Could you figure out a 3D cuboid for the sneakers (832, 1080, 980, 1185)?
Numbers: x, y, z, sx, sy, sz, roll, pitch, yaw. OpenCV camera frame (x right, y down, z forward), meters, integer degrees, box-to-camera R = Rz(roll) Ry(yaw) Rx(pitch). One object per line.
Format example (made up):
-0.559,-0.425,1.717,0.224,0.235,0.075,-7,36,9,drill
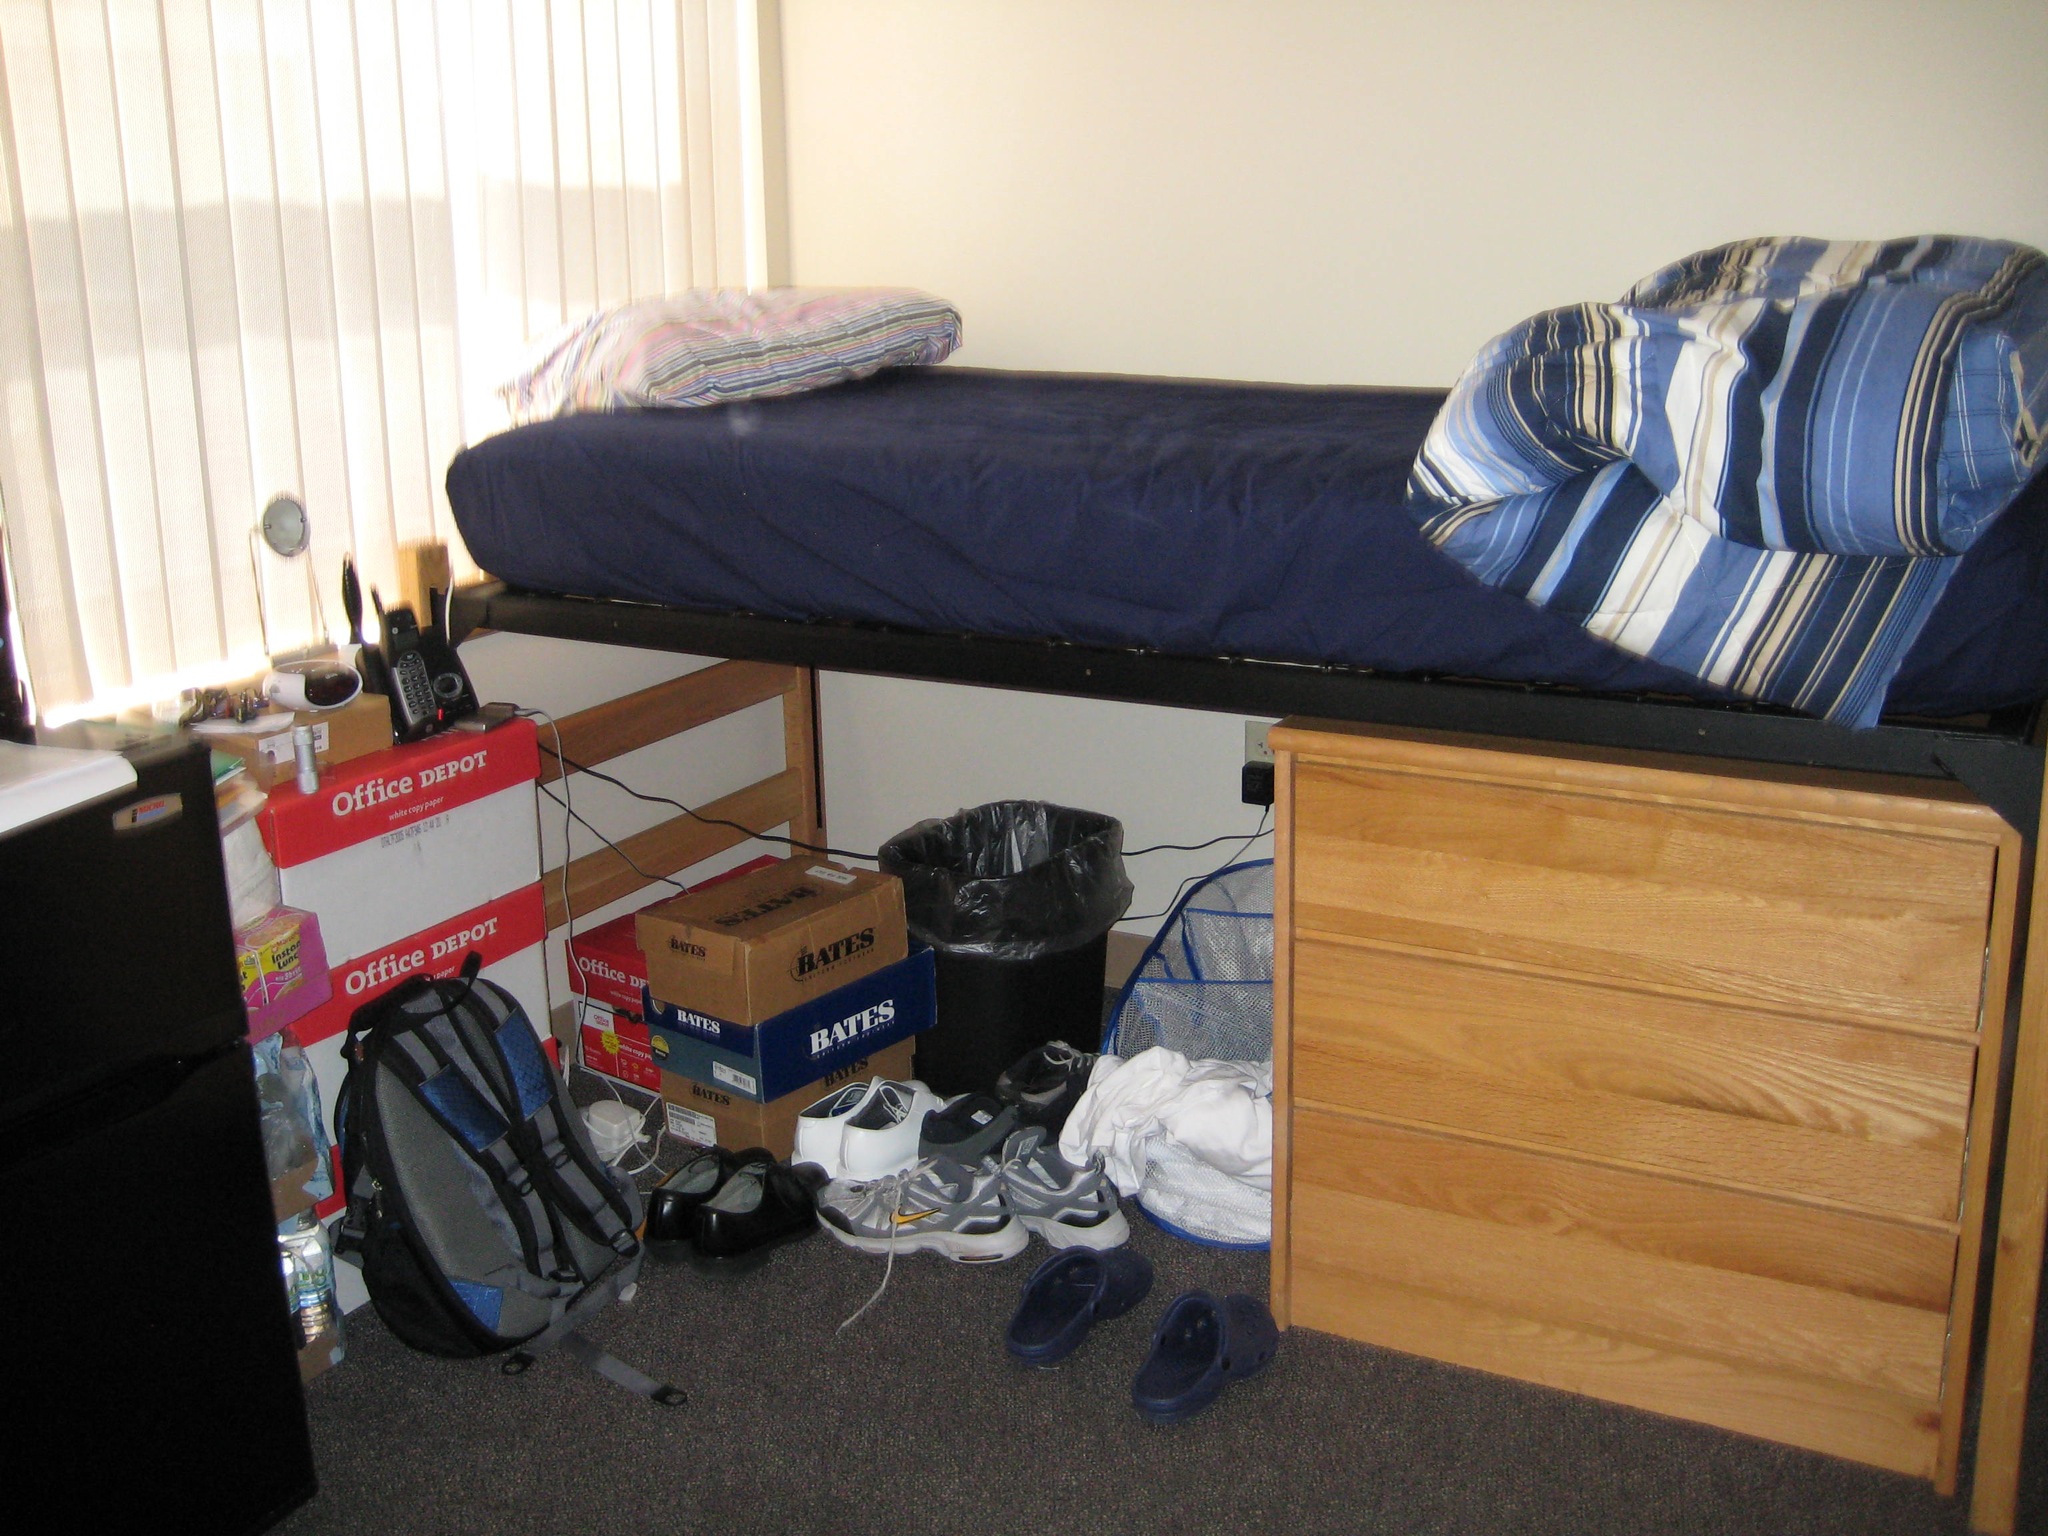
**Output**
-0.242,0.655,2.986,0.088,0.104,0.253,2,10,21,sneakers

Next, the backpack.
-0.847,0.621,2.566,0.328,0.524,0.368,16,30,30,backpack

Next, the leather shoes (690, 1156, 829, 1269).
-0.454,0.752,2.833,0.110,0.083,0.197,9,14,20,leather shoes

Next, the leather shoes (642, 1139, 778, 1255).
-0.524,0.745,2.828,0.132,0.066,0.190,6,15,21,leather shoes

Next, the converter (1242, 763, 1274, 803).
0.472,0.025,3.322,0.066,0.099,0.070,4,19,16,converter

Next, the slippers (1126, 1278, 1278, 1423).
0.277,0.904,2.549,0.122,0.094,0.223,11,24,38,slippers

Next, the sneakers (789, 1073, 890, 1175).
-0.335,0.646,3.010,0.081,0.100,0.227,3,13,17,sneakers

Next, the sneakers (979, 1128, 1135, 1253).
0.056,0.717,2.878,0.108,0.137,0.285,-14,17,-38,sneakers

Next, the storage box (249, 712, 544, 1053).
-1.057,0.180,2.727,0.171,0.396,0.458,8,20,27,storage box

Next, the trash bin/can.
-0.011,0.257,3.477,0.505,0.628,0.611,8,16,36,trash bin/can

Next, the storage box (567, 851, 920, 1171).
-0.527,0.390,3.230,0.522,0.470,0.579,7,14,28,storage box

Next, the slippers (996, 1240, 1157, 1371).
0.079,0.859,2.654,0.113,0.088,0.233,15,30,35,slippers

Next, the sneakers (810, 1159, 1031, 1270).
-0.170,0.762,2.889,0.372,0.175,0.152,3,2,9,sneakers

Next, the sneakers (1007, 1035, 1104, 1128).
0.060,0.605,3.253,0.087,0.114,0.242,12,16,26,sneakers

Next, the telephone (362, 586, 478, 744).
-1.077,-0.194,2.901,0.135,0.275,0.157,16,29,38,telephone
